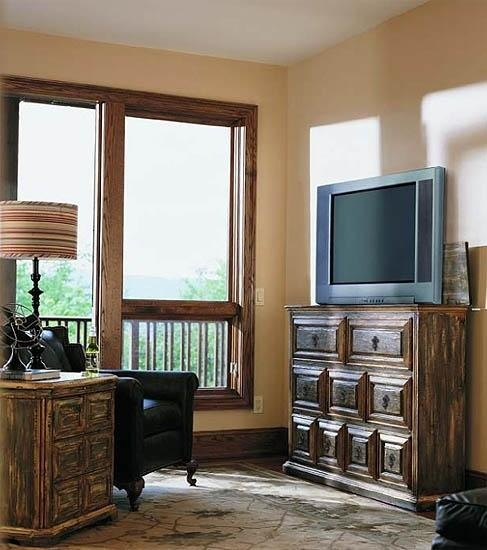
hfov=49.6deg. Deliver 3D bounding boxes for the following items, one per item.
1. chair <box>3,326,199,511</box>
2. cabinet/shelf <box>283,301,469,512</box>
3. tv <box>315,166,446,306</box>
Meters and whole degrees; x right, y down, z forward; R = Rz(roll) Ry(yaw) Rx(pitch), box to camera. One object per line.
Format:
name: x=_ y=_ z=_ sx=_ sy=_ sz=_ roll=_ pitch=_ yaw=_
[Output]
chair: x=-0.765 y=0.763 z=3.020 sx=0.974 sy=0.896 sz=0.962 roll=-9 pitch=-12 yaw=39
cabinet/shelf: x=0.741 y=0.750 z=3.212 sx=0.387 sy=1.044 sz=1.068 roll=6 pitch=-9 yaw=-31
tv: x=0.831 y=-0.195 z=3.253 sx=0.100 sy=0.797 sz=0.972 roll=3 pitch=-2 yaw=-36
